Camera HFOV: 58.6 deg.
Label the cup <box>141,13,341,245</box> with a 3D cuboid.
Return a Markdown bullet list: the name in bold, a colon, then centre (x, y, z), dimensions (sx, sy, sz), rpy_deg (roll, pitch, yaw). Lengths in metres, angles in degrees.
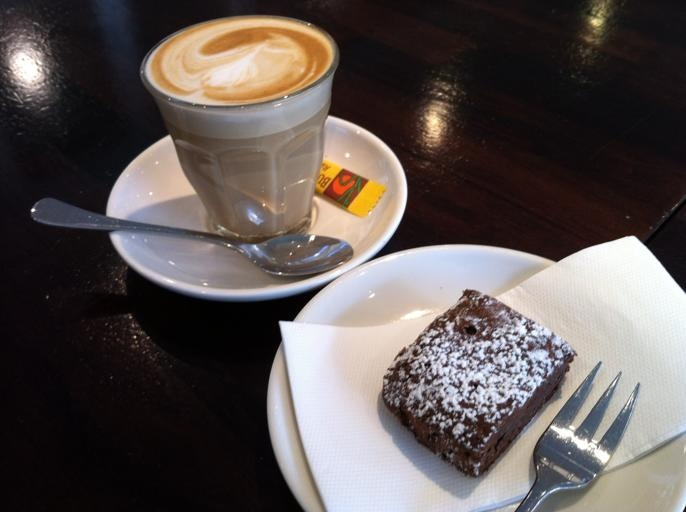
- **cup**: centre (-0.227, -0.284, 1.530), dimensions (0.409, 0.456, 0.451), rpy_deg (23, 47, 25)
